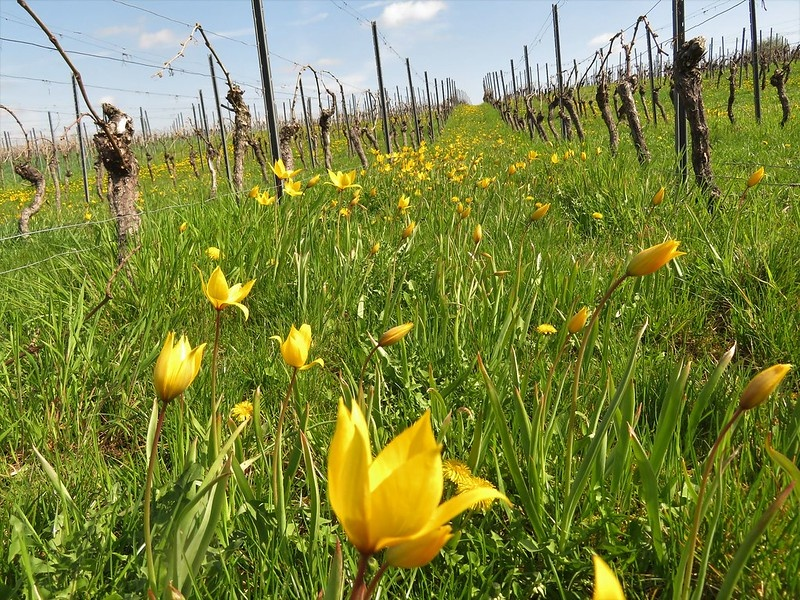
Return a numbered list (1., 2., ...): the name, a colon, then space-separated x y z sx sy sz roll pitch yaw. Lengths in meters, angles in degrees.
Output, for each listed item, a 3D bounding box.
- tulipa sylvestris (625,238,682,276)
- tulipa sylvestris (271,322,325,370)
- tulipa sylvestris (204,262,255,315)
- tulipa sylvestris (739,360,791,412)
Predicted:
1. tulipa sylvestris: 0.592 -0.100 1.289 0.103 0.102 0.215 0 15 25
2. tulipa sylvestris: -0.243 0.130 1.275 0.093 0.076 0.097 -18 36 -27
3. tulipa sylvestris: -0.700 -0.043 2.241 0.222 0.129 0.207 16 9 -27
4. tulipa sylvestris: 0.736 0.173 1.100 0.075 0.123 0.159 4 16 37
